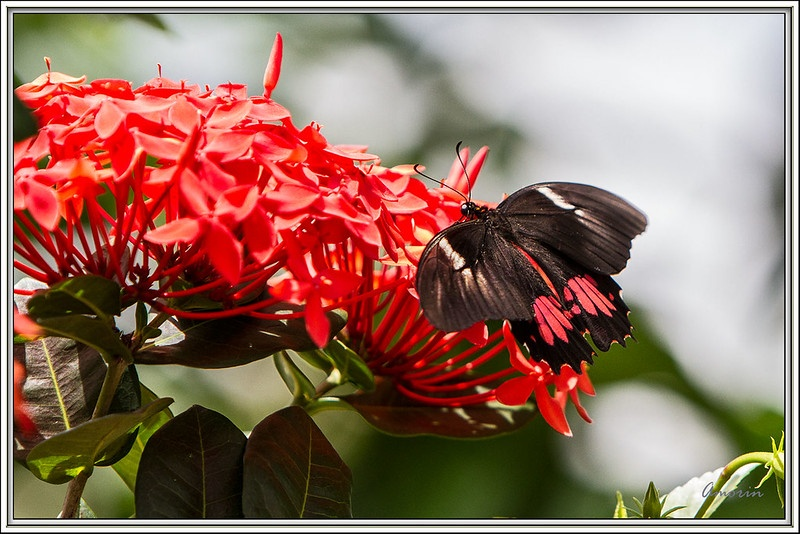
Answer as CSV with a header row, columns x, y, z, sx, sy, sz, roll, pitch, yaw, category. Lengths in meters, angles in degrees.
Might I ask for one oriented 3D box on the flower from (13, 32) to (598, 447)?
x,y,z,sx,sy,sz,roll,pitch,yaw,category
-0.340,-0.031,1.955,1.170,0.533,1.125,23,22,-1,flower
